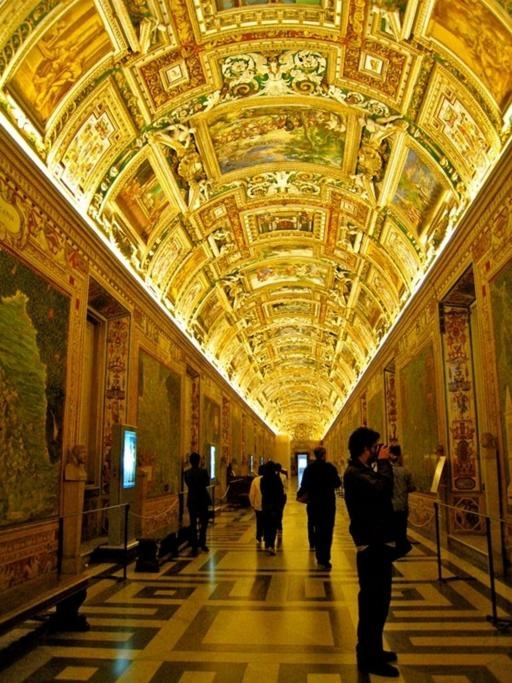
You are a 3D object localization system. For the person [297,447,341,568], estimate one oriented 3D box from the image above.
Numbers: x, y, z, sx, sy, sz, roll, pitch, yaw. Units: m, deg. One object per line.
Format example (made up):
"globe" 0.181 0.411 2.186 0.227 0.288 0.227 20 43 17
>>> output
"person" 1.168 2.984 8.223 0.738 2.142 1.530 -2 -19 8

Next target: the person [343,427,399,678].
"person" 0.777 1.359 2.995 0.333 1.545 0.461 -3 -19 12

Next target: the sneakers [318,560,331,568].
"sneakers" 1.168 3.832 7.619 0.127 0.067 0.188 1 -10 3

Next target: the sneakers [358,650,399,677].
"sneakers" 0.788 2.092 2.898 0.248 0.110 0.371 -4 -20 13
